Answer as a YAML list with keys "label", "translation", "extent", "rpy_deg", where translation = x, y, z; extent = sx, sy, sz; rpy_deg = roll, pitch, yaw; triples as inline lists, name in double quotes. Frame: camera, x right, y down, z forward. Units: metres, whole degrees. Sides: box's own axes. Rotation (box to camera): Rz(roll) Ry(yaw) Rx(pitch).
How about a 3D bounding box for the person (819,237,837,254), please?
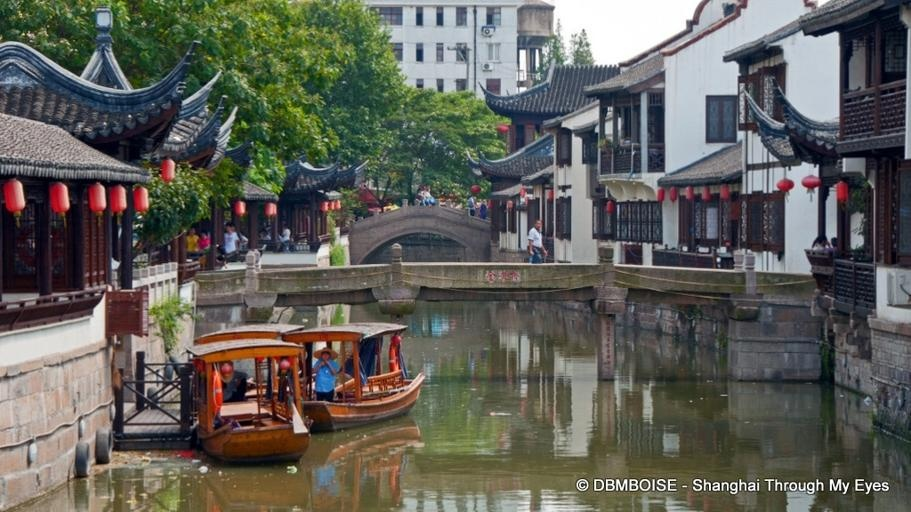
- label: "person"
  translation: [12.527, -0.430, 56.451]
  extent: [0.642, 0.454, 1.313]
  rpy_deg: [1, 12, 5]

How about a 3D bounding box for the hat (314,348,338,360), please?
- label: "hat"
  translation: [-4.199, 3.143, 54.345]
  extent: [0.748, 0.446, 1.041]
  rpy_deg: [-1, 12, -3]

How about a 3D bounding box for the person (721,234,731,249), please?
- label: "person"
  translation: [10.342, -0.552, 64.115]
  extent: [0.390, 0.787, 0.407]
  rpy_deg: [2, -1, 15]

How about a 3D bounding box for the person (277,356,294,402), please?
- label: "person"
  translation: [-5.396, 3.904, 52.881]
  extent: [0.530, 1.161, 0.461]
  rpy_deg: [3, 3, -39]

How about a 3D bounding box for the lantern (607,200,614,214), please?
- label: "lantern"
  translation: [6.683, -2.125, 72.099]
  extent: [0.314, 0.677, 0.604]
  rpy_deg: [-1, 12, -3]

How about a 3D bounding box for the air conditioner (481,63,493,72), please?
- label: "air conditioner"
  translation: [2.078, -12.161, 107.337]
  extent: [0.709, 0.548, 0.400]
  rpy_deg: [1, 5, 4]

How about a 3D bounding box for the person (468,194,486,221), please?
- label: "person"
  translation: [1.177, -2.681, 92.748]
  extent: [0.906, 0.926, 2.813]
  rpy_deg: [18, 2, 2]

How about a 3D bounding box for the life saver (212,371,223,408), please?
- label: "life saver"
  translation: [-7.257, 4.095, 51.138]
  extent: [0.294, 1.221, 0.236]
  rpy_deg: [-7, 13, -29]

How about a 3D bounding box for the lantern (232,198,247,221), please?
- label: "lantern"
  translation: [-8.610, -1.864, 67.454]
  extent: [0.644, 1.267, 0.767]
  rpy_deg: [-2, 3, -26]

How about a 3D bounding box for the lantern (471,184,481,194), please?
- label: "lantern"
  translation: [1.103, -3.619, 91.843]
  extent: [0.422, 0.464, 0.456]
  rpy_deg: [2, 23, 13]
